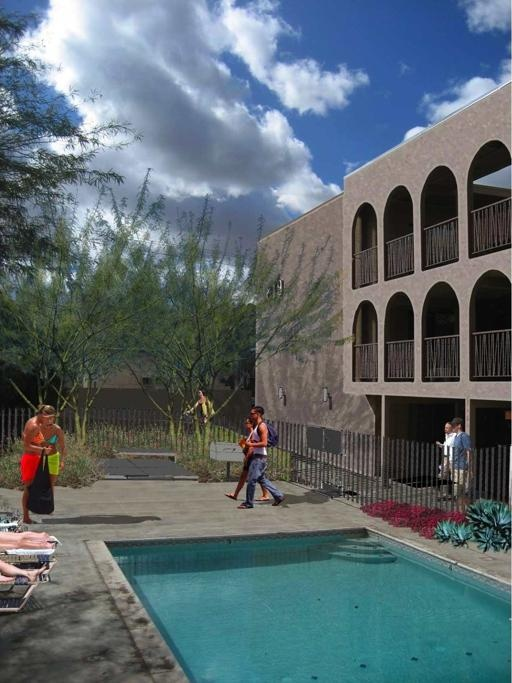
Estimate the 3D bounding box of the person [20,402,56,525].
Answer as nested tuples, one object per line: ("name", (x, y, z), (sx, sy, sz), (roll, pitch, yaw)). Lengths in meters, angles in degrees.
("person", (-3.013, 1.729, 7.550), (0.401, 1.672, 0.742), (4, -7, -22))
